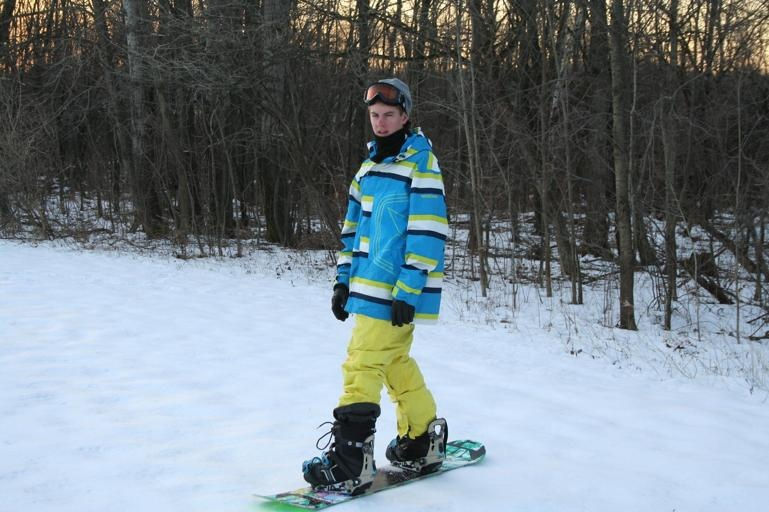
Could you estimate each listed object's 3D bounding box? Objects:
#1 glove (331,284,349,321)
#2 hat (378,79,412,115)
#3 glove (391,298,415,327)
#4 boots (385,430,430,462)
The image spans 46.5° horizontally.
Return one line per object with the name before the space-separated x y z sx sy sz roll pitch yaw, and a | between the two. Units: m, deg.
glove | -0.828 0.789 15.758 0.180 0.589 0.386 0 -4 16
hat | 0.202 -2.867 15.757 0.483 0.760 0.532 3 3 16
glove | 0.289 0.956 15.343 0.401 0.428 0.150 1 1 1
boots | 0.362 3.335 15.744 0.624 0.328 0.433 -3 20 15
